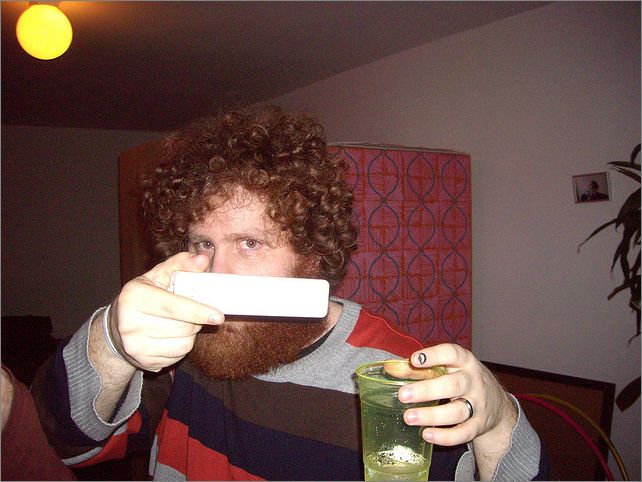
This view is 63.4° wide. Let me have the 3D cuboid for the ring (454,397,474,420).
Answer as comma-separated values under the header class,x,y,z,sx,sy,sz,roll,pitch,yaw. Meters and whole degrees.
class,x,y,z,sx,sy,sz,roll,pitch,yaw
ring,0.513,0.605,1.872,0.078,0.078,0.028,0,2,-5
